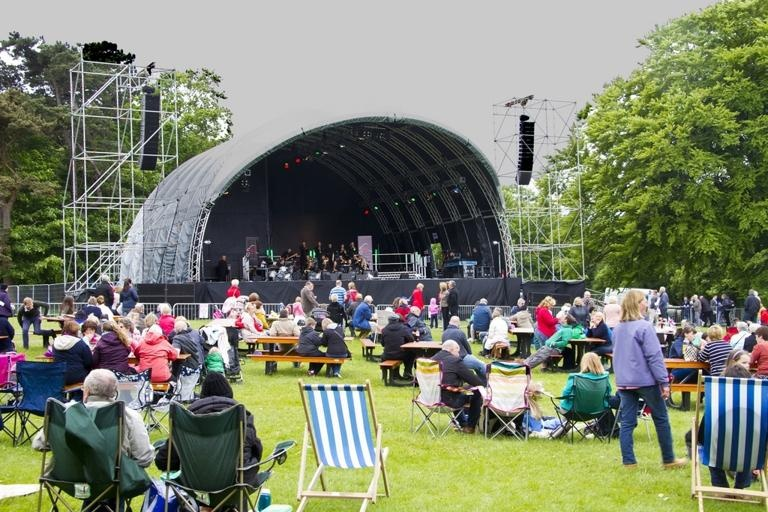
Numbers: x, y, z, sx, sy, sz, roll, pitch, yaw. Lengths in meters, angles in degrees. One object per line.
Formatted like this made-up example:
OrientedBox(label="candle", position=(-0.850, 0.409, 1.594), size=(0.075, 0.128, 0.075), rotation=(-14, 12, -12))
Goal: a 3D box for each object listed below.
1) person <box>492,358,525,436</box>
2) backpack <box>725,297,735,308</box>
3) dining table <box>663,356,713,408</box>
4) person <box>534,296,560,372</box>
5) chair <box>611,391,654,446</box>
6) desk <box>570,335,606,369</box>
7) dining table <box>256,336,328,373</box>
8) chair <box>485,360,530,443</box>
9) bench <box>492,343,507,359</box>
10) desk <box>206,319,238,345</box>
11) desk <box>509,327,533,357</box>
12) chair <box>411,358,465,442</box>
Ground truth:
OrientedBox(label="person", position=(4.509, 5.180, 38.665), size=(1.471, 2.735, 0.647), rotation=(-1, -6, 3))
OrientedBox(label="backpack", position=(19.070, 2.600, 59.162), size=(0.567, 0.794, 0.421), rotation=(-1, 3, 9))
OrientedBox(label="dining table", position=(11.402, 4.768, 40.401), size=(1.689, 1.710, 1.773), rotation=(0, -3, 9))
OrientedBox(label="person", position=(6.975, 3.148, 45.604), size=(0.997, 2.848, 1.048), rotation=(1, -4, -11))
OrientedBox(label="chair", position=(8.931, 5.993, 38.938), size=(1.181, 2.115, 1.736), rotation=(0, -4, 0))
OrientedBox(label="desk", position=(8.303, 3.960, 44.014), size=(1.210, 1.263, 1.266), rotation=(0, -2, 15))
OrientedBox(label="dining table", position=(-3.845, 4.213, 44.124), size=(2.110, 1.691, 3.118), rotation=(0, 0, -5))
OrientedBox(label="chair", position=(4.473, 5.292, 39.248), size=(1.658, 2.728, 1.533), rotation=(0, -1, 0))
OrientedBox(label="bench", position=(4.936, 4.006, 45.030), size=(0.605, 0.666, 0.623), rotation=(2, -5, -16))
OrientedBox(label="desk", position=(-6.572, 3.126, 43.263), size=(0.926, 1.045, 2.764), rotation=(-1, -7, 1))
OrientedBox(label="desk", position=(5.938, 3.631, 45.877), size=(0.942, 0.917, 1.806), rotation=(-1, 1, -5))
OrientedBox(label="chair", position=(1.908, 5.182, 39.557), size=(1.585, 2.884, 1.798), rotation=(0, 6, -2))
